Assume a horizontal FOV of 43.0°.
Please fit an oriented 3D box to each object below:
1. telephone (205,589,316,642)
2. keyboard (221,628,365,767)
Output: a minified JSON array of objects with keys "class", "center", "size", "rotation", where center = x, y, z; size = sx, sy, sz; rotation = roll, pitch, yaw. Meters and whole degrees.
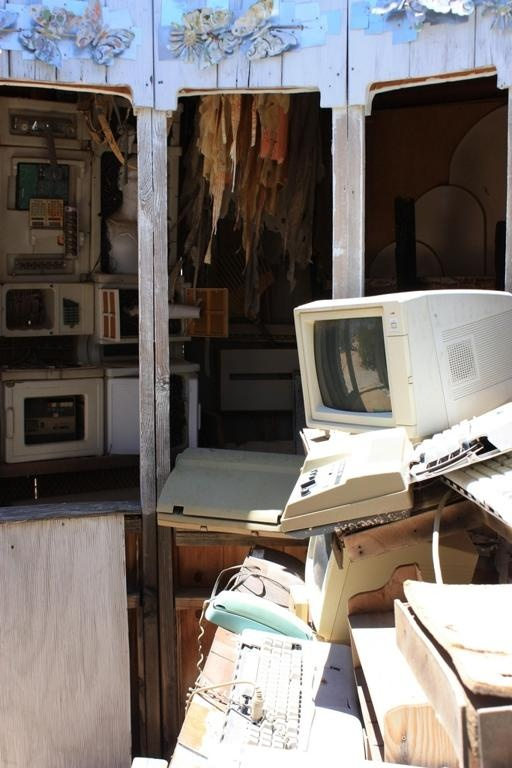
[{"class":"telephone","center":[0.008,0.612,1.696],"size":[0.217,0.071,0.132],"rotation":[19,1,-9]},{"class":"keyboard","center":[0.076,0.638,1.350],"size":[0.275,0.083,0.497],"rotation":[-1,6,5]}]
